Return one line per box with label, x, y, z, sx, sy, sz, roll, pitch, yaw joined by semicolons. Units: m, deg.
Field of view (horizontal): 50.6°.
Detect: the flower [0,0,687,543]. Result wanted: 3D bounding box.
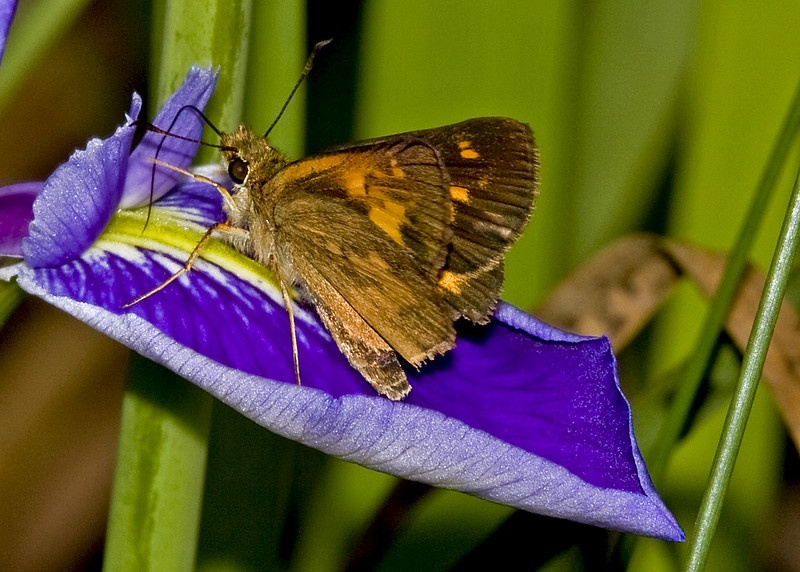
flower;-0.084;0.076;0.953;0.639;0.269;0.573;24;7;-6
